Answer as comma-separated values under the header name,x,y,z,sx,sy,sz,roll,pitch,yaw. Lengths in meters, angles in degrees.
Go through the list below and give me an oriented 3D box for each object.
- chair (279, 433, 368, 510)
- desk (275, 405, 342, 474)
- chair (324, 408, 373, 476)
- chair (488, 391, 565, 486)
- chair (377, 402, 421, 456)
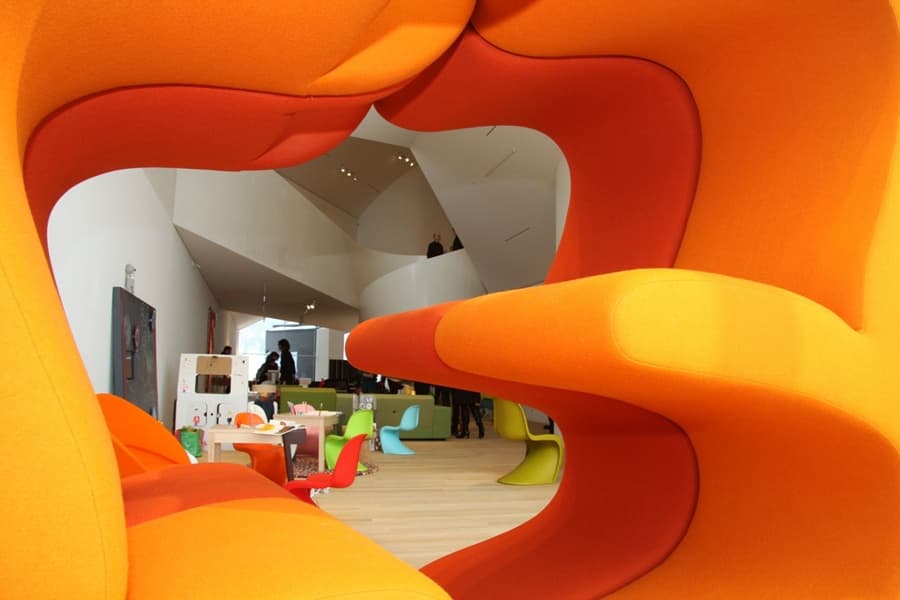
name,x,y,z,sx,sy,sz,roll,pitch,yaw
chair,-0.535,0.769,2.729,0.261,0.369,0.216,13,-10,-20
desk,-1.227,1.248,5.670,0.582,0.615,0.610,-1,-4,9
chair,-0.803,1.142,5.050,0.319,0.512,0.371,-1,0,-43
chair,0.624,1.116,5.044,0.488,0.720,0.459,1,-4,-22
chair,-0.543,1.456,6.950,0.395,0.553,0.332,1,-7,32
